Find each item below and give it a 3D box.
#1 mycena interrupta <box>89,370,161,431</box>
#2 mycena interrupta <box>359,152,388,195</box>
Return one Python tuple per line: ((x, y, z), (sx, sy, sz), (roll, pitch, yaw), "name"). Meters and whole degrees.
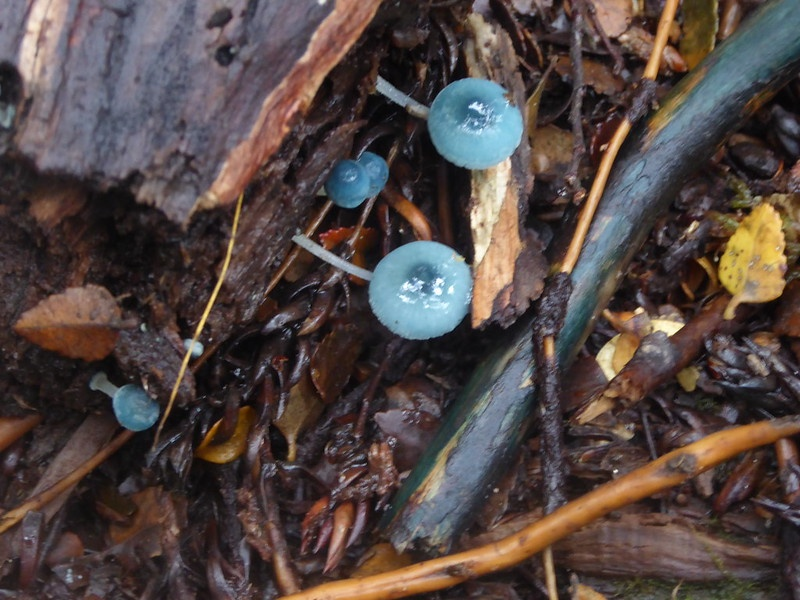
((-1.289, 0.466, 4.461), (0.359, 0.234, 0.091), (40, -6, 4), "mycena interrupta")
((-0.121, -0.592, 4.442), (0.168, 0.212, 0.178), (1, 9, -5), "mycena interrupta")
